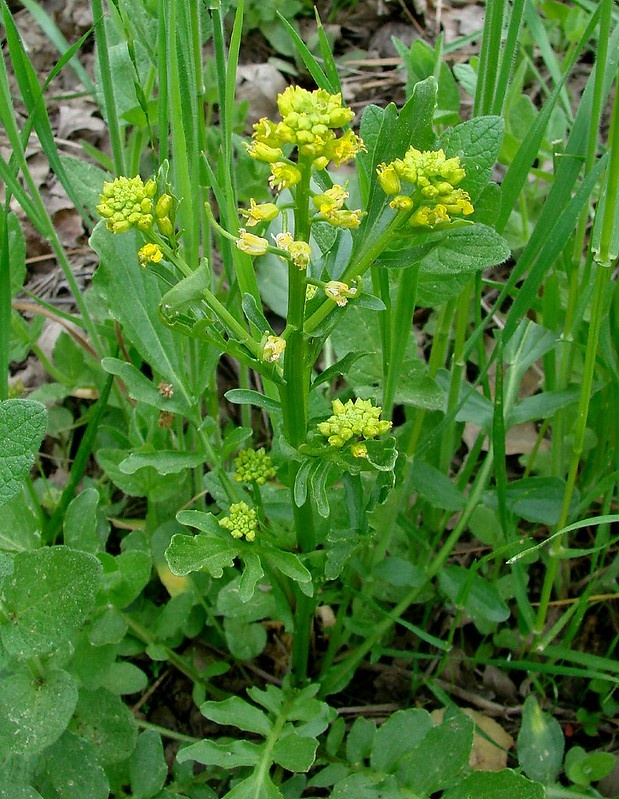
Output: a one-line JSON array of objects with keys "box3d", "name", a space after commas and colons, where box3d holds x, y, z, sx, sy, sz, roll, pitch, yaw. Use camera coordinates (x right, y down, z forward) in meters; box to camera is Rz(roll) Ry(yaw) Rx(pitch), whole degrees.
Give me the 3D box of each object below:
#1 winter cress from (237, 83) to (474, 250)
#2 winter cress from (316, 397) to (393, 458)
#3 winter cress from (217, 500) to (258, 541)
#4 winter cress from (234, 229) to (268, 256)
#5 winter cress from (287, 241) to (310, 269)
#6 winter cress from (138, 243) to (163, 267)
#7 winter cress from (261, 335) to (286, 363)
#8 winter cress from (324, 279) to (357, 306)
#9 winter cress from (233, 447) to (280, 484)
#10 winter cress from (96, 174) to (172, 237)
[{"box3d": [0.067, -0.315, 0.972, 0.304, 0.220, 0.206, 4, 38, 7], "name": "winter cress"}, {"box3d": [0.073, 0.057, 1.141, 0.108, 0.041, 0.097, -17, 47, -13], "name": "winter cress"}, {"box3d": [-0.121, 0.210, 1.227, 0.062, 0.029, 0.068, -19, 69, -30], "name": "winter cress"}, {"box3d": [-0.076, -0.215, 0.982, 0.049, 0.033, 0.020, 18, 10, -7], "name": "winter cress"}, {"box3d": [-0.015, -0.190, 0.944, 0.018, 0.026, 0.034, -31, 34, -4], "name": "winter cress"}, {"box3d": [-0.230, -0.202, 1.042, 0.034, 0.019, 0.037, 10, 78, 2], "name": "winter cress"}, {"box3d": [-0.054, -0.067, 0.999, 0.034, 0.038, 0.015, -2, -5, -1], "name": "winter cress"}, {"box3d": [0.040, -0.145, 0.967, 0.022, 0.028, 0.044, -28, 38, -31], "name": "winter cress"}, {"box3d": [-0.106, 0.133, 1.446, 0.080, 0.071, 0.039, 20, 7, -2], "name": "winter cress"}, {"box3d": [-0.256, -0.287, 1.058, 0.105, 0.093, 0.108, -10, 38, -11], "name": "winter cress"}]
